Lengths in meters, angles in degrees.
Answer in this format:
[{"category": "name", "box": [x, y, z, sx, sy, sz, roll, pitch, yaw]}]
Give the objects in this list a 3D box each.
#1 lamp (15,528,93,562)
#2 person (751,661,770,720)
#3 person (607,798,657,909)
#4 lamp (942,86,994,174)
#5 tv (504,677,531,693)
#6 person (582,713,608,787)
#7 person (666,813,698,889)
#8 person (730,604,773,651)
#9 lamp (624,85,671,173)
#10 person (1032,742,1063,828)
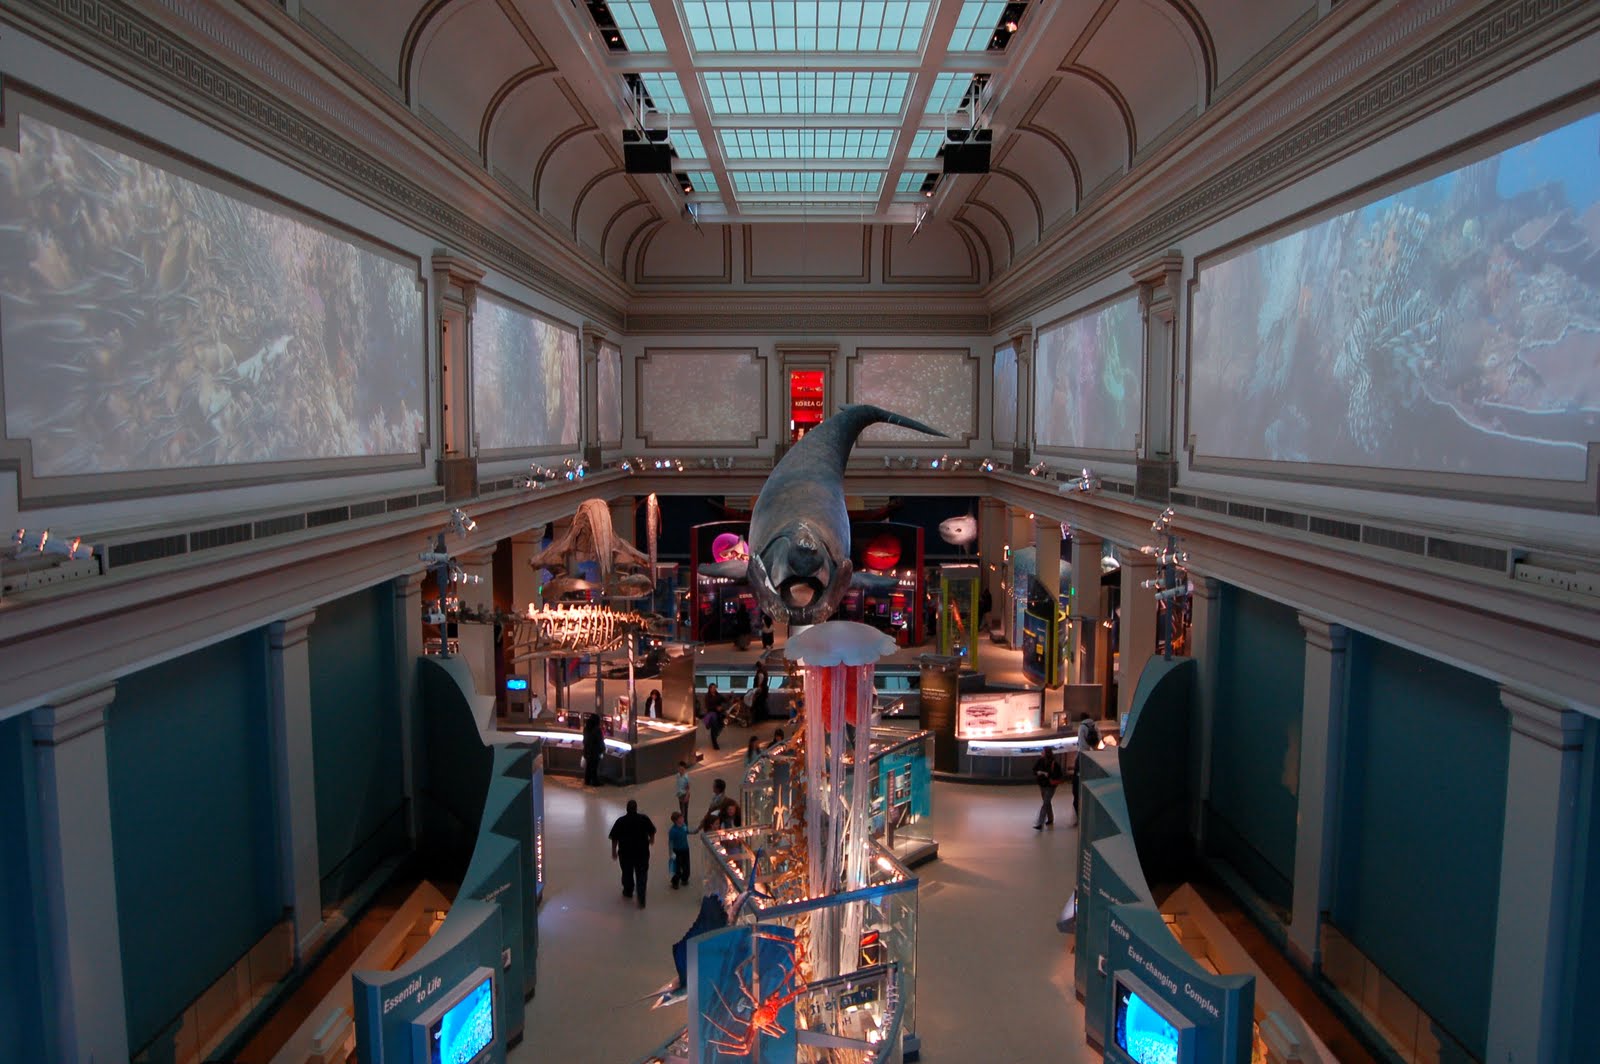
[{"category": "lamp", "box": [-5.139, 0.094, 6.741, 0.438, 0.204, 0.735, -1, 1, -39]}, {"category": "person", "box": [-0.703, 2.865, 17.589, 0.289, 1.061, 0.607, 0, 1, 6]}, {"category": "person", "box": [-1.990, 3.689, 11.577, 0.452, 1.226, 0.654, 0, 1, -9]}, {"category": "lamp", "box": [2.507, -5.830, 14.536, 0.816, 1.601, 0.852, 1, 16, 2]}, {"category": "tv", "box": [-4.672, 2.503, 16.235, 0.363, 0.261, 0.122, 0, 1, -8]}, {"category": "person", "box": [-3.067, 3.234, 14.486, 0.299, 1.094, 0.591, 0, 1, -13]}, {"category": "person", "box": [-1.434, 3.827, 11.724, 0.226, 0.862, 0.406, 0, 1, -12]}, {"category": "person", "box": [-1.101, 2.146, 21.740, 0.764, 0.905, 2.038, 0, 1, -8]}, {"category": "lamp", "box": [-2.368, -6.279, 14.917, 0.601, 1.030, 1.064, 9, 23, 6]}, {"category": "person", "box": [3.399, 3.487, 13.551, 0.293, 1.050, 0.845, 0, 1, 14]}]
